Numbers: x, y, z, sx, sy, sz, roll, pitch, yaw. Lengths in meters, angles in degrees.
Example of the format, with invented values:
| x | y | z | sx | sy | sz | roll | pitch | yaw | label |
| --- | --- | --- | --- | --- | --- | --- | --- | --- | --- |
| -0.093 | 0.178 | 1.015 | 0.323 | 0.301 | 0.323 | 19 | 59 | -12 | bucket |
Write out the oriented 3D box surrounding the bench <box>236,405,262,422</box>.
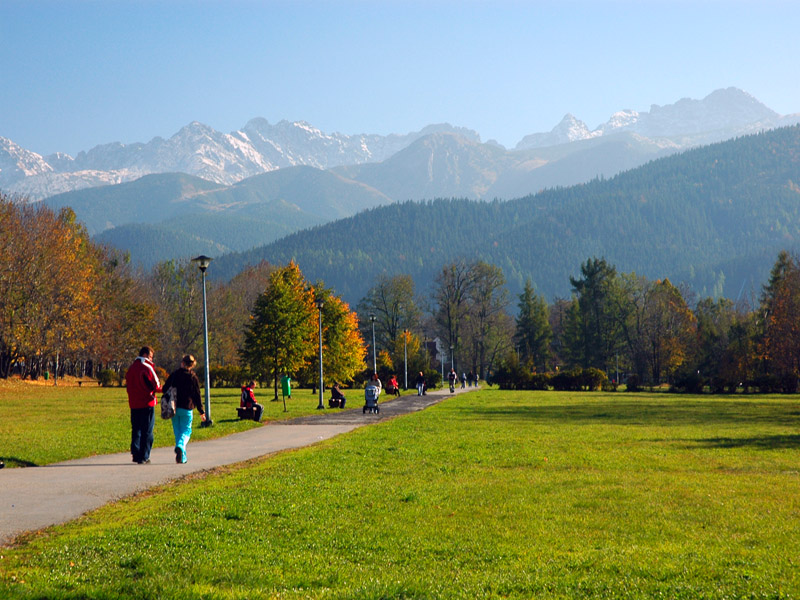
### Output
| x | y | z | sx | sy | sz | roll | pitch | yaw | label |
| --- | --- | --- | --- | --- | --- | --- | --- | --- | --- |
| -8.862 | 6.711 | 69.463 | 1.326 | 0.952 | 1.043 | -2 | 10 | -7 | bench |

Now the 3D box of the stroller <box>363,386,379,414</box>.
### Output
| x | y | z | sx | sy | sz | roll | pitch | yaw | label |
| --- | --- | --- | --- | --- | --- | --- | --- | --- | --- |
| -1.861 | 6.411 | 76.816 | 0.939 | 1.937 | 0.876 | 1 | 10 | 8 | stroller |

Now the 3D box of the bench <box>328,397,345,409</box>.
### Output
| x | y | z | sx | sy | sz | roll | pitch | yaw | label |
| --- | --- | --- | --- | --- | --- | --- | --- | --- | --- |
| -4.424 | 7.114 | 81.220 | 1.270 | 0.783 | 0.477 | -5 | 3 | 4 | bench |
